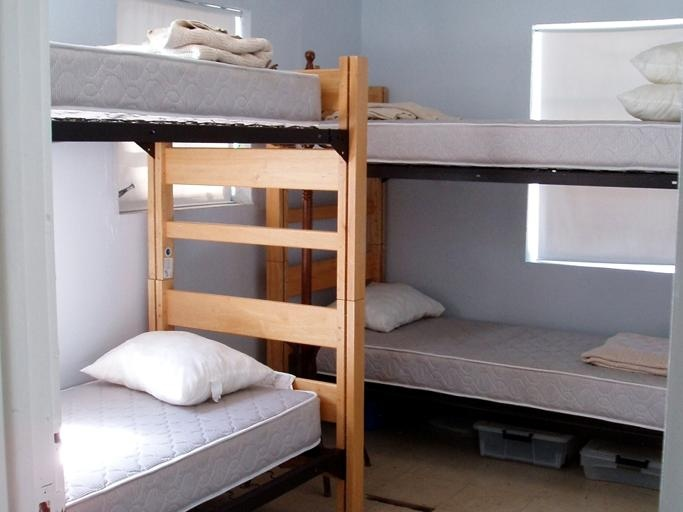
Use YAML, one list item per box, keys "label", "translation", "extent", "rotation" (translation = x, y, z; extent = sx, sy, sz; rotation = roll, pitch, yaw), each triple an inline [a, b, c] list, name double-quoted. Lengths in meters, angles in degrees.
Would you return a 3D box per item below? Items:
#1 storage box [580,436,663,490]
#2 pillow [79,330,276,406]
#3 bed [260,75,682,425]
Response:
- label: "storage box"
  translation: [1.550, 1.141, 3.227]
  extent: [0.393, 0.241, 0.184]
  rotation: [7, 9, 35]
- label: "pillow"
  translation: [-0.764, 0.472, 2.562]
  extent: [0.463, 0.148, 0.397]
  rotation: [4, 4, 38]
- label: "bed"
  translation: [0.807, -0.010, 3.371]
  extent: [2.382, 2.362, 0.943]
  rotation: [1, 4, 24]
